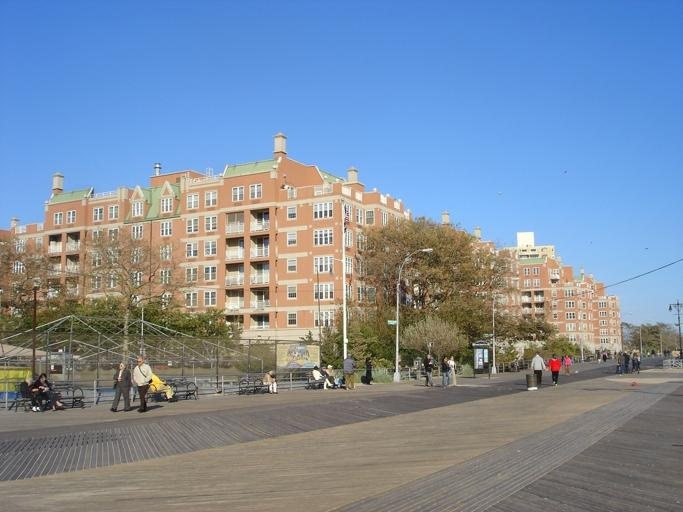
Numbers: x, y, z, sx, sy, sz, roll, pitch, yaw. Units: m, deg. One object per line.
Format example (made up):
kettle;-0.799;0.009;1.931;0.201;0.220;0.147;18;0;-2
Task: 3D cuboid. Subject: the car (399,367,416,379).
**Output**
car;4.822;8.540;55.933;1.159;0.993;2.827;-2;-13;4

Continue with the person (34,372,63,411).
person;-11.275;5.266;29.676;1.057;1.364;1.138;0;-12;-8

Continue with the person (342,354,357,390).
person;0.374;6.217;40.779;0.564;1.798;1.370;-1;-12;-2

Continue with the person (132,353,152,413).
person;-7.366;4.722;28.264;0.684;2.014;0.853;-3;2;-41

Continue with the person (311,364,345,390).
person;-0.995;6.775;42.254;1.372;0.839;1.569;-6;-8;25
